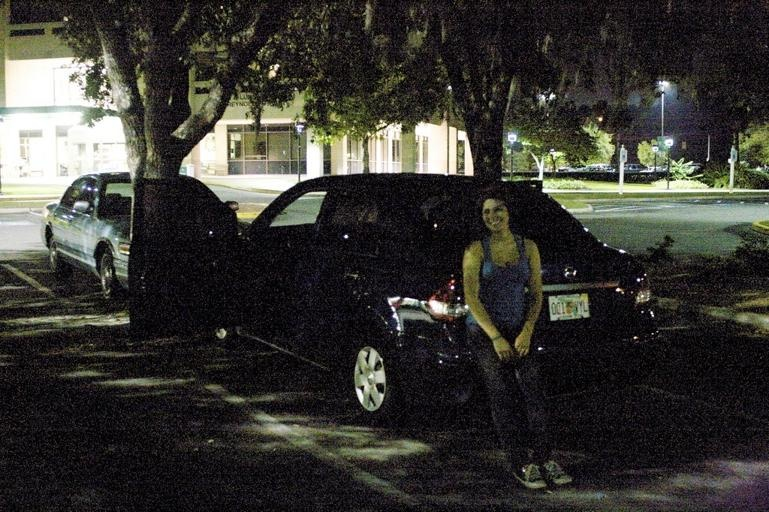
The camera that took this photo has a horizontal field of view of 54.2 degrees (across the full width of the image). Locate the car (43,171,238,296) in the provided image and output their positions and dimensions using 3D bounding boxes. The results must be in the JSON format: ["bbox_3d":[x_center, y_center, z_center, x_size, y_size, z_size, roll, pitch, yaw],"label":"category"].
[{"bbox_3d":[-5.143,-0.473,13.642,1.985,1.459,4.358,-2,2,-32],"label":"car"}]

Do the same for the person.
[{"bbox_3d":[1.104,0.656,6.259,0.849,2.361,0.573,5,11,31],"label":"person"}]

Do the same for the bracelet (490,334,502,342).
[{"bbox_3d":[0.941,0.671,6.201,0.112,0.062,0.039,1,10,10],"label":"bracelet"}]

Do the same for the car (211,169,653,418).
[{"bbox_3d":[0.131,0.242,7.953,2.103,1.636,4.650,-7,10,-30],"label":"car"}]

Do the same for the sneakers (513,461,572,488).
[{"bbox_3d":[1.303,1.790,6.123,0.246,0.123,0.335,-5,0,-32],"label":"sneakers"}]
